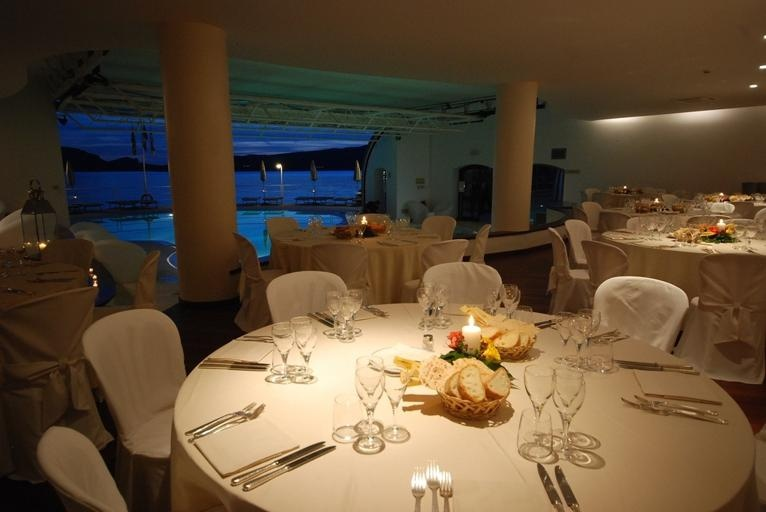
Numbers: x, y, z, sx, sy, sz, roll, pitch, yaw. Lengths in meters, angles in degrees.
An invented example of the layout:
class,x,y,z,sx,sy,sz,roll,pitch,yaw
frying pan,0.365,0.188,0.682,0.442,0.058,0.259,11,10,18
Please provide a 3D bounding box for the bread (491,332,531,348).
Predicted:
class,x,y,z,sx,sy,sz,roll,pitch,yaw
bread,0.762,0.490,2.834,0.116,0.038,0.120,3,9,5

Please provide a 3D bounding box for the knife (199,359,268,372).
class,x,y,z,sx,sy,sz,roll,pitch,yaw
knife,-0.871,0.634,2.822,0.399,0.035,0.135,2,17,0

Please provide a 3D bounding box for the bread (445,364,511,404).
class,x,y,z,sx,sy,sz,roll,pitch,yaw
bread,0.472,0.638,2.436,0.231,0.083,0.203,10,20,23

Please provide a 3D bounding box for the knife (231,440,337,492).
class,x,y,z,sx,sy,sz,roll,pitch,yaw
knife,-0.406,0.960,2.273,0.597,0.032,0.155,-15,28,-34

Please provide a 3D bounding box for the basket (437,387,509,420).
class,x,y,z,sx,sy,sz,roll,pitch,yaw
basket,0.444,0.737,2.433,0.191,0.069,0.197,0,5,4

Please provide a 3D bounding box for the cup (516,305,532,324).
class,x,y,z,sx,sy,sz,roll,pitch,yaw
cup,0.930,0.382,3.205,0.109,0.112,0.113,1,2,0
